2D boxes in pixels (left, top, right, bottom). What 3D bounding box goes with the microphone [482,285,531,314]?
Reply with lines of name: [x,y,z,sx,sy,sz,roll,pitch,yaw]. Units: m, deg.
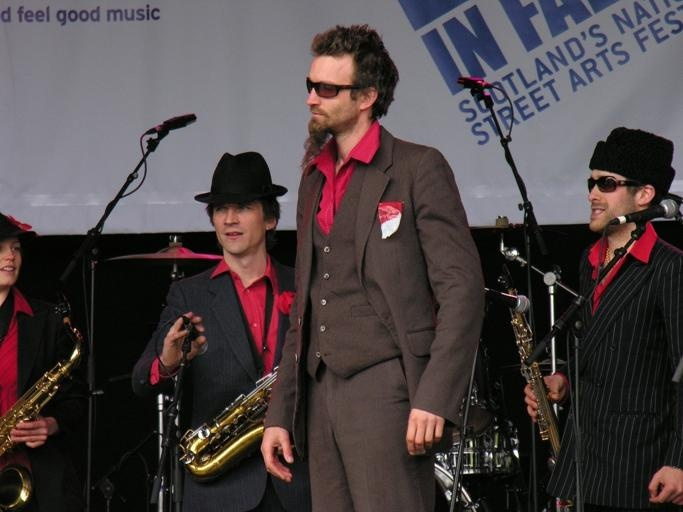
microphone: [1.143,0.287,6.144,0.145,0.147,0.510,28,8,37]

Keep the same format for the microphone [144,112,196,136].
microphone: [-1.160,-0.901,6.138,0.275,0.086,0.185,-15,10,-15]

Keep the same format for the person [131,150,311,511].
person: [-0.675,0.398,5.817,0.990,2.582,0.959,-1,1,17]

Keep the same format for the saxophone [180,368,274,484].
saxophone: [-0.640,1.081,5.762,0.853,0.302,0.445,-41,29,-19]

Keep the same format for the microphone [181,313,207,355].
microphone: [-0.891,0.475,5.431,0.144,0.238,0.350,-1,-4,-9]

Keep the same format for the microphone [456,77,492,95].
microphone: [0.916,-1.168,6.137,0.229,0.131,0.176,3,11,-5]
